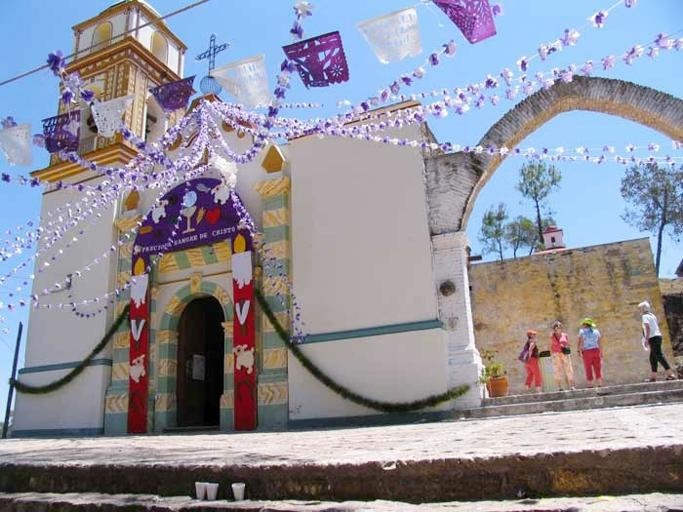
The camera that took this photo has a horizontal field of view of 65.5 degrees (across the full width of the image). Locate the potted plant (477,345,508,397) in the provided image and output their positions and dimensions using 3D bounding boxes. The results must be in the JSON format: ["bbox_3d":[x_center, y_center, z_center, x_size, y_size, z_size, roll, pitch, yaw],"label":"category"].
[{"bbox_3d":[3.104,2.424,10.938,0.469,0.903,0.577,-4,-9,-14],"label":"potted plant"}]

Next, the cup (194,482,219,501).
[{"bbox_3d":[-1.046,1.802,4.073,0.195,0.129,0.126,-7,-16,6],"label":"cup"}]

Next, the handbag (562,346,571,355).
[{"bbox_3d":[4.304,1.812,10.131,0.252,0.148,0.095,10,-21,-42],"label":"handbag"}]

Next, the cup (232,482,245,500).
[{"bbox_3d":[-0.777,1.789,4.067,0.111,0.128,0.122,0,-14,0],"label":"cup"}]
